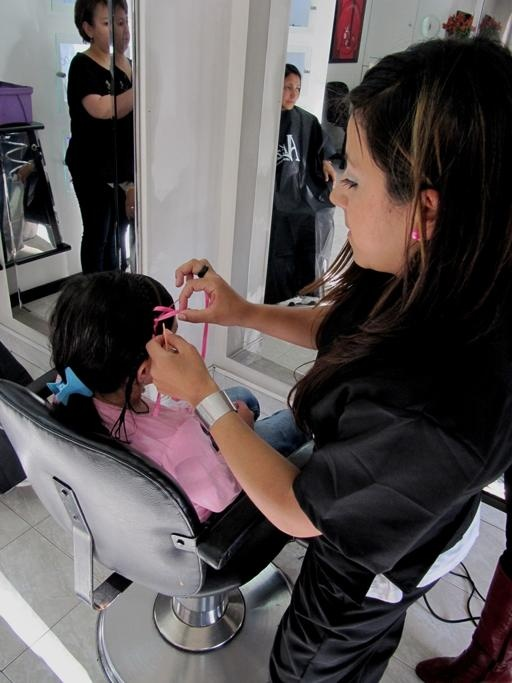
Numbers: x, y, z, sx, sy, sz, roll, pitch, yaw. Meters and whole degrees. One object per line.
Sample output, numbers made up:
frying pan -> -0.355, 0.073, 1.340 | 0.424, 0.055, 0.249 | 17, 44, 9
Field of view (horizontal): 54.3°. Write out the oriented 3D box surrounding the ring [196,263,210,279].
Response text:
ring -> -0.112, -0.150, 1.072 | 0.011, 0.029, 0.024 | 34, 31, -12

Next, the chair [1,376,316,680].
chair -> -0.181, 0.385, 0.944 | 0.445, 0.513, 0.430 | 28, 43, 20

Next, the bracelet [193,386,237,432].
bracelet -> -0.058, 0.095, 0.709 | 0.042, 0.065, 0.072 | 50, 19, 21
